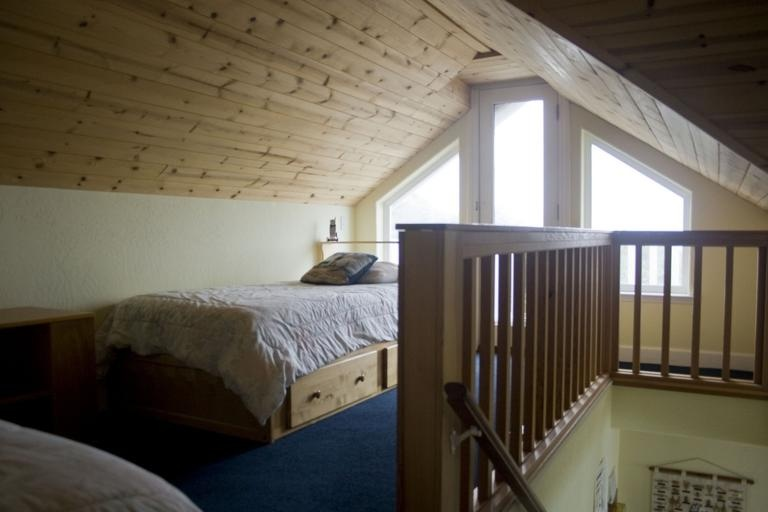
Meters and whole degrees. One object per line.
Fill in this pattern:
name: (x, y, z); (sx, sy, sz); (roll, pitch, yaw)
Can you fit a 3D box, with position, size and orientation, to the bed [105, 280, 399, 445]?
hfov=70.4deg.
bed: (-0.602, 0.550, 3.834); (1.099, 0.423, 1.550); (2, 2, 30)
